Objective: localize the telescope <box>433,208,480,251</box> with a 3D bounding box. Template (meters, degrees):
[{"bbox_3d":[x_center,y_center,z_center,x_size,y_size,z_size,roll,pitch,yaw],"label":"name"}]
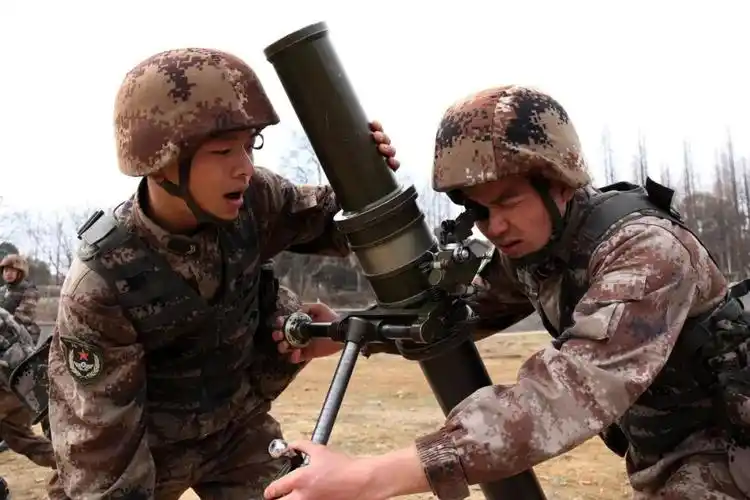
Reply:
[{"bbox_3d":[0.462,-0.116,4.010,0.198,0.230,0.137,8,-15,-26],"label":"telescope"}]

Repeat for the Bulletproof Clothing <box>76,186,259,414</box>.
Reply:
[{"bbox_3d":[-1.251,0.349,4.758,0.756,1.357,1.274,19,29,36],"label":"Bulletproof Clothing"}]
